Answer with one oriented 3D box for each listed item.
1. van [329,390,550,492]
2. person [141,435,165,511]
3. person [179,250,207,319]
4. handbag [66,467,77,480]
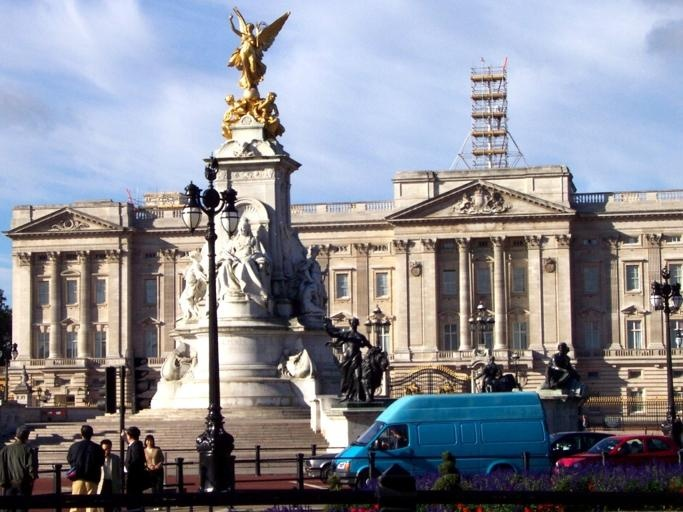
[{"bbox_3d":[3.591,6.017,59.421,6.538,2.945,1.631,-1,-6,6],"label":"van"},{"bbox_3d":[-5.917,6.654,56.063,0.901,2.695,0.625,-2,-7,-15],"label":"person"},{"bbox_3d":[-6.435,1.033,78.019,0.941,2.441,1.558,3,11,-8],"label":"person"},{"bbox_3d":[-7.975,6.440,52.622,0.231,0.408,0.774,0,-6,-13],"label":"handbag"}]
